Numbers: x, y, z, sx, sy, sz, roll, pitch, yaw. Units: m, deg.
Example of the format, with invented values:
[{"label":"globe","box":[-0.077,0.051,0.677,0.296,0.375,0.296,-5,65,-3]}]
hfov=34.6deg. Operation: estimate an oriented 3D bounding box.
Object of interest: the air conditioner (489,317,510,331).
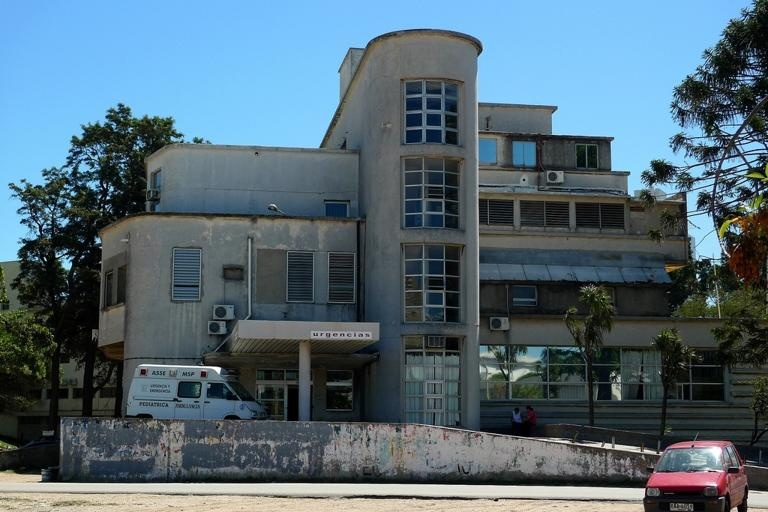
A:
[{"label":"air conditioner","box":[6.201,3.834,67.230,1.101,0.757,0.663,1,-13,-2]}]

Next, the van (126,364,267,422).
[{"label":"van","box":[-8.927,6.575,57.837,4.988,2.490,2.870,0,-7,-2]}]

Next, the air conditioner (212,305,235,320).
[{"label":"air conditioner","box":[-8.242,3.067,63.494,1.201,0.865,0.689,1,-18,-7]}]

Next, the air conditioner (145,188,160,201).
[{"label":"air conditioner","box":[-12.774,-3.295,68.143,0.669,0.520,0.672,5,-11,-22]}]
